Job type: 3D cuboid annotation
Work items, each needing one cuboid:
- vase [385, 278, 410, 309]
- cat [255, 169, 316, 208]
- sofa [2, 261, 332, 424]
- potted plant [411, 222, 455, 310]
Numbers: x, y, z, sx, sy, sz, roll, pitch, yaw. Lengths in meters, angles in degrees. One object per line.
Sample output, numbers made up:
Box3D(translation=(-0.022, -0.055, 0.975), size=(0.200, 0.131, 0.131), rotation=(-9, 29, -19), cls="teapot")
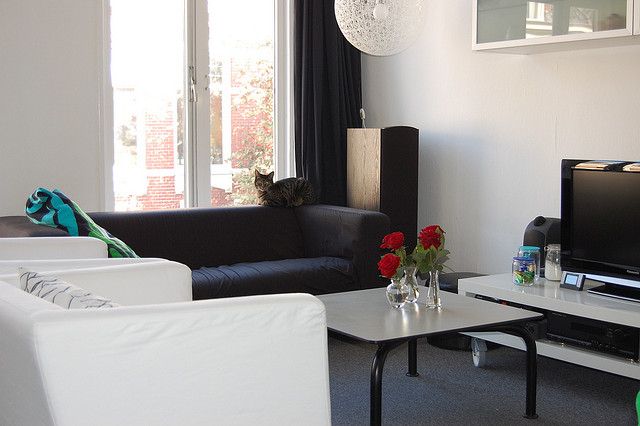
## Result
Box3D(translation=(0.421, 0.424, 2.754), size=(0.122, 0.168, 0.095), rotation=(1, 8, 9), cls="vase")
Box3D(translation=(-0.306, -0.209, 4.297), size=(0.464, 0.283, 0.282), rotation=(-3, -1, -10), cls="cat")
Box3D(translation=(-0.411, 0.419, 1.335), size=(0.866, 0.403, 0.301), rotation=(0, 8, 0), cls="sofa")
Box3D(translation=(0.595, 0.279, 2.759), size=(0.208, 0.389, 0.212), rotation=(-2, 6, -5), cls="potted plant")
